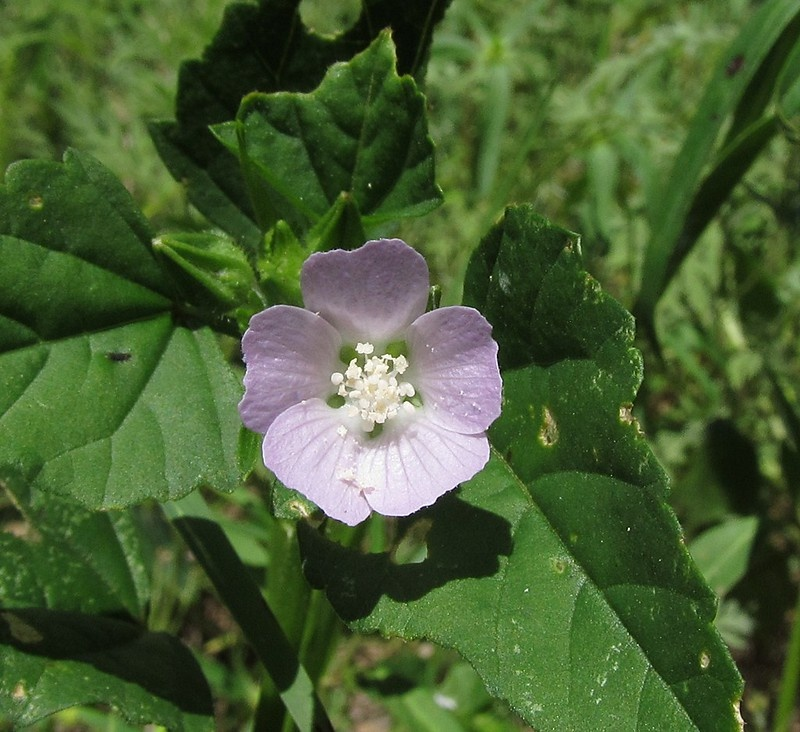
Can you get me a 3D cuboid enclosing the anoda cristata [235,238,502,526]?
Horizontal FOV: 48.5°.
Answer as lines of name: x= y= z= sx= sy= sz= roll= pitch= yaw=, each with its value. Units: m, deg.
anoda cristata: x=-0.065 y=0.064 z=2.074 sx=0.609 sy=0.325 sz=0.576 roll=42 pitch=81 yaw=4
